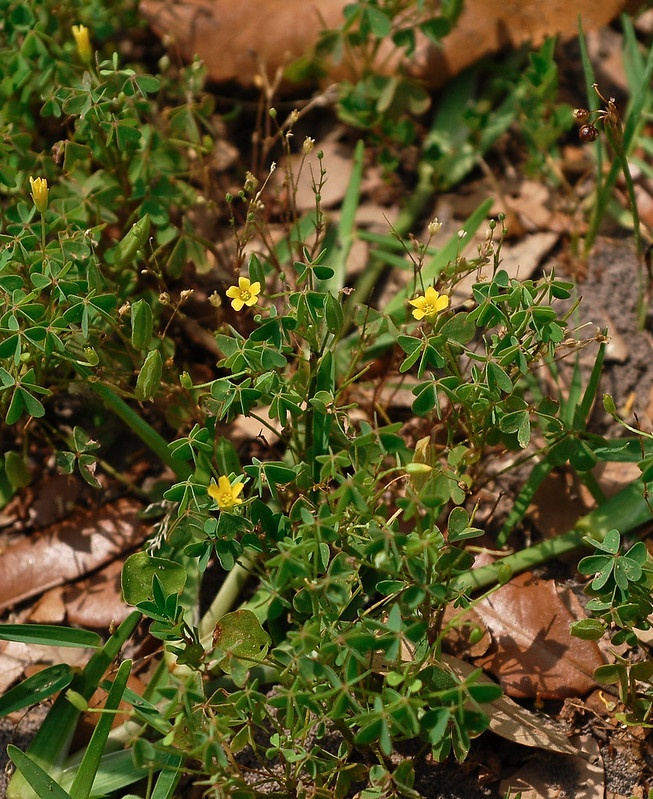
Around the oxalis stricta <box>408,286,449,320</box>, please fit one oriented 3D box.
[{"bbox_3d":[0.200,-0.191,1.393,0.069,0.036,0.066,5,58,24],"label":"oxalis stricta"}]
